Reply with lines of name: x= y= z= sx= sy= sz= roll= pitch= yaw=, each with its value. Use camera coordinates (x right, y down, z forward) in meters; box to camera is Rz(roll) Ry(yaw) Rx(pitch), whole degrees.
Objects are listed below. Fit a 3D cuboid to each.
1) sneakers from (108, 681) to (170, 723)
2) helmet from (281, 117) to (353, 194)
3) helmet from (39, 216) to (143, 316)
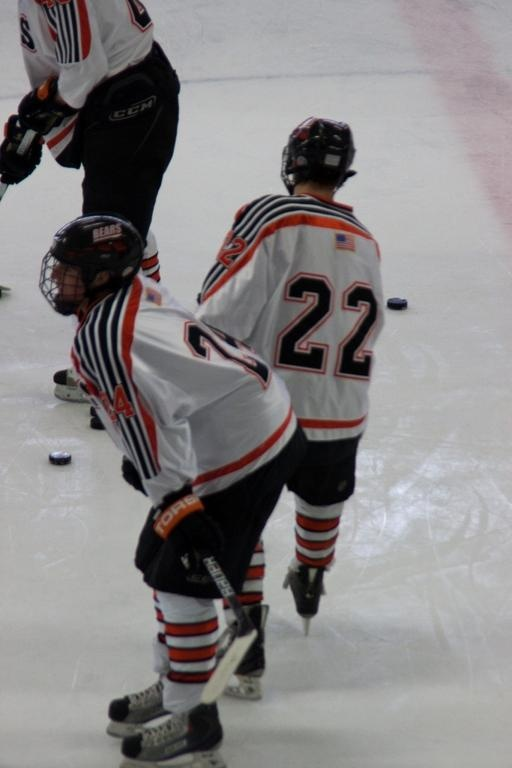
sneakers: x=-0.283 y=0.786 z=2.123 sx=0.195 sy=0.066 sz=0.063 roll=-5 pitch=26 yaw=-40
helmet: x=0.170 y=-0.649 z=2.411 sx=0.214 sy=0.207 sz=0.225 roll=2 pitch=12 yaw=-14
helmet: x=-0.349 y=-0.279 z=1.934 sx=0.274 sy=0.222 sz=0.190 roll=1 pitch=21 yaw=-1
